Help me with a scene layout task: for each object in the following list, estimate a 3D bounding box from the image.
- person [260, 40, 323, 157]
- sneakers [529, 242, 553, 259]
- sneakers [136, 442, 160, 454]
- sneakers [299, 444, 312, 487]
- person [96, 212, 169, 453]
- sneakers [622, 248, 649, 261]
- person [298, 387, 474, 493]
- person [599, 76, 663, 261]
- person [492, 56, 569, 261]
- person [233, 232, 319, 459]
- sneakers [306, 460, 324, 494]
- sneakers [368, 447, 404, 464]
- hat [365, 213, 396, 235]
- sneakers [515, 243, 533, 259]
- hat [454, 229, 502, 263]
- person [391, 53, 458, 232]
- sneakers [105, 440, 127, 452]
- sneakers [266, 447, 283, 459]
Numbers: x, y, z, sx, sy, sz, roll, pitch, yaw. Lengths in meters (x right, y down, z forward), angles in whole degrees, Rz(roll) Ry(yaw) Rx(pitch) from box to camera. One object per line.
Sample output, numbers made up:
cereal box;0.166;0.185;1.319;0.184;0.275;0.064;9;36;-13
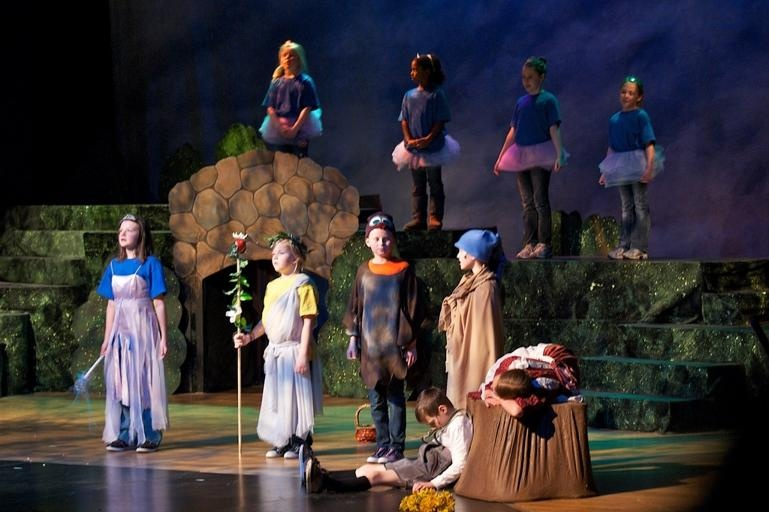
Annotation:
person;-0.937;-1.539;10.560;0.585;1.094;0.361;-2;8;-6
sneakers;1.549;-0.049;10.470;0.105;0.119;0.253;-6;-10;44
sneakers;-1.905;1.527;8.586;0.182;0.069;0.067;11;-16;-41
sneakers;-0.573;1.485;7.636;0.117;0.295;0.094;2;-15;5
person;-2.036;0.622;8.613;0.532;1.860;0.390;-3;8;-12
sneakers;2.405;-0.034;10.171;0.217;0.097;0.186;1;8;13
person;0.064;1.319;7.649;1.066;0.639;0.686;1;-9;-5
person;2.321;-0.834;10.150;0.485;1.695;0.390;1;8;13
person;1.449;-0.945;10.340;0.679;1.918;0.404;3;9;24
person;-0.816;0.704;8.420;0.628;1.758;0.441;0;8;6
sneakers;-0.491;1.545;7.555;0.135;0.252;0.056;-2;8;-5
sneakers;0.012;1.531;8.189;0.182;0.069;0.136;15;-22;-43
hat;-0.034;-0.276;8.337;0.182;0.156;0.201;1;-23;-4
sneakers;1.411;-0.040;10.543;0.092;0.098;0.226;-11;-6;37
hat;0.714;-0.160;8.140;0.294;0.227;0.237;22;-41;0
person;0.414;-1.101;10.363;0.633;1.673;0.431;0;8;4
sneakers;-2.177;1.519;8.609;0.141;0.064;0.076;11;-8;-8
sneakers;-0.869;1.549;8.429;0.124;0.058;0.067;5;-7;15
